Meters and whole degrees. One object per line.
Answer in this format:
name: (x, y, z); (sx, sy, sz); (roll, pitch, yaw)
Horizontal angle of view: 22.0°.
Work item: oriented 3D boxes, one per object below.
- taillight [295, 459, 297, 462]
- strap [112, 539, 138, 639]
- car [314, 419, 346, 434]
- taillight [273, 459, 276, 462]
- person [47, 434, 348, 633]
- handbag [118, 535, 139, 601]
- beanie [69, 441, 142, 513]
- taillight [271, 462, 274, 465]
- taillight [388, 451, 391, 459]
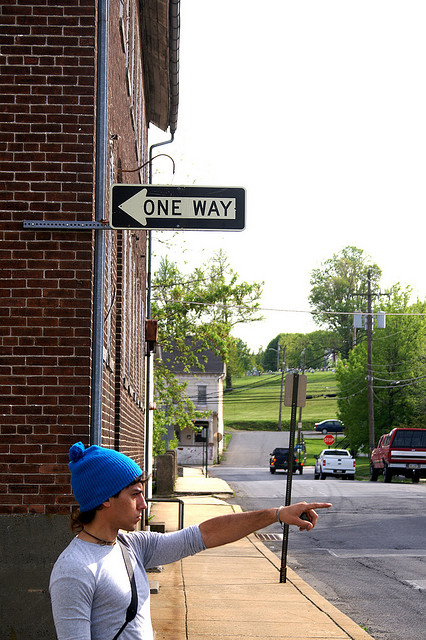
taillight: (3.270, 5.644, 43.702); (0.121, 0.098, 0.127); (0, -1, 2)
strap: (-0.327, 1.021, 4.127); (0.089, 0.359, 0.253); (3, 0, -4)
car: (8.565, 7.723, 78.887); (1.487, 1.066, 3.301); (4, -1, -28)
taillight: (2.357, 5.448, 42.321); (0.093, 0.095, 0.095); (-3, -4, 40)
person: (-0.239, 0.848, 4.272); (0.891, 0.736, 0.381); (4, -1, -34)
handbag: (-0.340, 0.948, 4.181); (0.041, 0.059, 0.378); (-6, 44, -11)
beanie: (-0.414, 0.630, 4.192); (0.278, 0.296, 0.239); (-2, -8, 6)
taillight: (2.277, 5.594, 42.379); (0.097, 0.095, 0.096); (-2, 3, -43)
taillight: (5.130, 3.968, 31.994); (0.067, 0.227, 0.263); (3, -1, 2)
